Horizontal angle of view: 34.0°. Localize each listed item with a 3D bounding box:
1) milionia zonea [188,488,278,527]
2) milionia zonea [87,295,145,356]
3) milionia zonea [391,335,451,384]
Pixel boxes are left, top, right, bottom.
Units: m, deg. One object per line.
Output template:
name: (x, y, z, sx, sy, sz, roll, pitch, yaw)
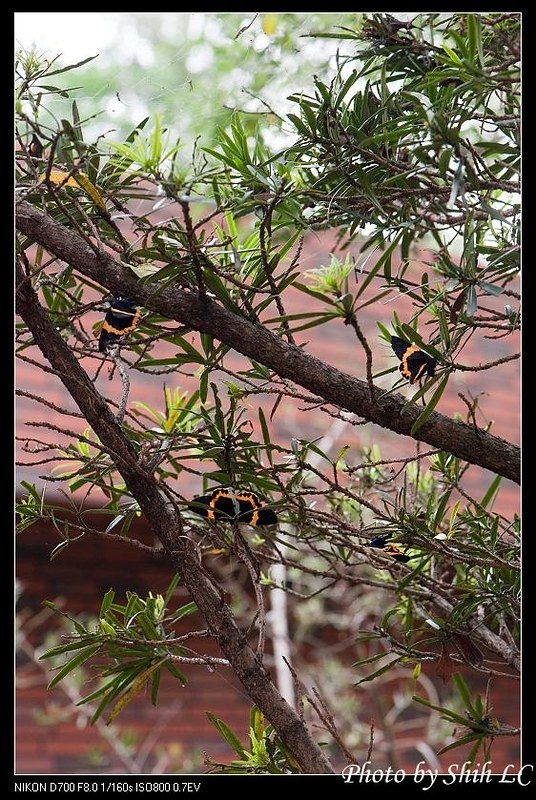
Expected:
milionia zonea: (-0.041, 0.127, 1.039, 0.115, 0.021, 0.049, 4, -74, 13)
milionia zonea: (-0.166, -0.085, 1.004, 0.029, 0.047, 0.063, 24, -16, 17)
milionia zonea: (0.173, -0.046, 0.984, 0.054, 0.071, 0.032, -16, -74, -19)
